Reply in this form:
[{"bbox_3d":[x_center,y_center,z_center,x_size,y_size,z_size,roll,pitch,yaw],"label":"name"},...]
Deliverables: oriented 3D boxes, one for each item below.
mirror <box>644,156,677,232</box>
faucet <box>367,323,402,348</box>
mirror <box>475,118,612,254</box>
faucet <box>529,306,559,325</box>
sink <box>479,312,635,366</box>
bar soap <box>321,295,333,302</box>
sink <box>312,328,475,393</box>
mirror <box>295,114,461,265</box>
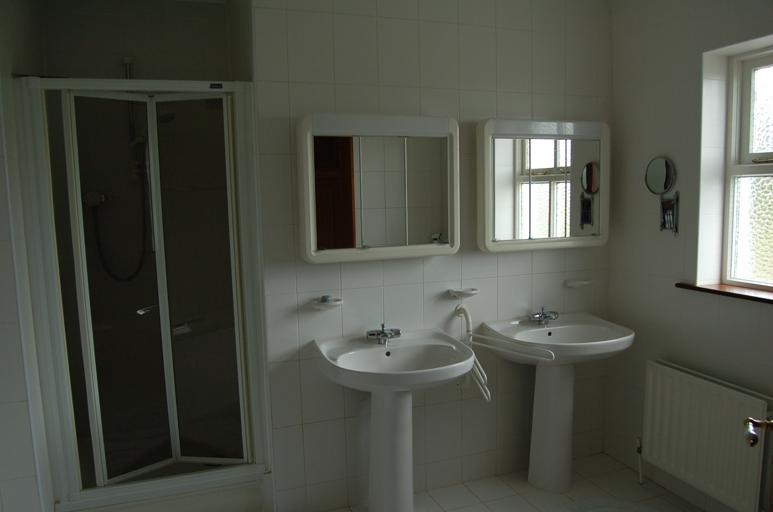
[{"bbox_3d":[1.760,-0.393,3.973,0.072,0.484,0.229,-8,12,-26],"label":"mirror"},{"bbox_3d":[-0.031,0.490,3.891,0.171,0.111,0.124,-1,5,-14],"label":"faucet"},{"bbox_3d":[0.988,-0.480,4.070,0.834,0.791,0.117,-1,7,-12],"label":"mirror"},{"bbox_3d":[1.037,0.406,4.149,0.165,0.092,0.121,-2,9,-7],"label":"faucet"},{"bbox_3d":[1.085,0.566,4.006,0.892,0.248,0.539,-6,11,-13],"label":"sink"},{"bbox_3d":[-0.364,0.258,3.800,0.040,0.029,0.040,0,1,-27],"label":"bar soap"},{"bbox_3d":[0.049,0.636,3.691,0.882,0.231,0.574,-6,11,-12],"label":"sink"},{"bbox_3d":[-0.092,-0.428,3.794,0.855,0.810,0.089,-3,10,-13],"label":"mirror"}]
